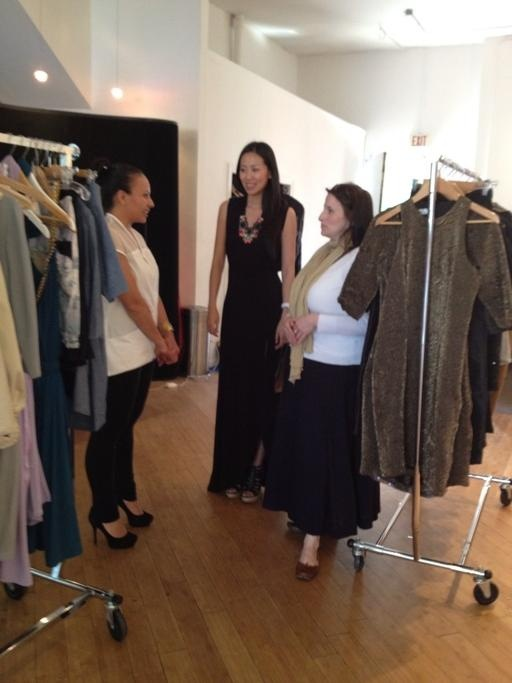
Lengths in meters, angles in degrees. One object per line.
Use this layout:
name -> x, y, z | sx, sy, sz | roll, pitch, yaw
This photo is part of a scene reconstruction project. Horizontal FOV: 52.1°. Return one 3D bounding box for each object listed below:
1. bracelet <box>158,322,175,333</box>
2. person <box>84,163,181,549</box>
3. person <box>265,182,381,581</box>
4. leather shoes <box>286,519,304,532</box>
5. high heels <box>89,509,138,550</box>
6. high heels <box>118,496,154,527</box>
bracelet -> -0.389, -0.051, 2.301 | 0.060, 0.041, 0.027 | 25, -27, -20
person -> -0.487, 0.100, 2.096 | 0.371, 1.575, 0.631 | 0, 4, -19
person -> 0.238, 0.084, 1.980 | 0.445, 1.340, 0.334 | 2, 4, 16
leather shoes -> 0.172, 0.851, 2.383 | 0.099, 0.045, 0.116 | 0, -34, -3
high heels -> -0.580, 0.775, 2.207 | 0.212, 0.184, 0.122 | 5, 6, -15
high heels -> -0.539, 0.801, 2.414 | 0.148, 0.186, 0.094 | 6, 8, -2
